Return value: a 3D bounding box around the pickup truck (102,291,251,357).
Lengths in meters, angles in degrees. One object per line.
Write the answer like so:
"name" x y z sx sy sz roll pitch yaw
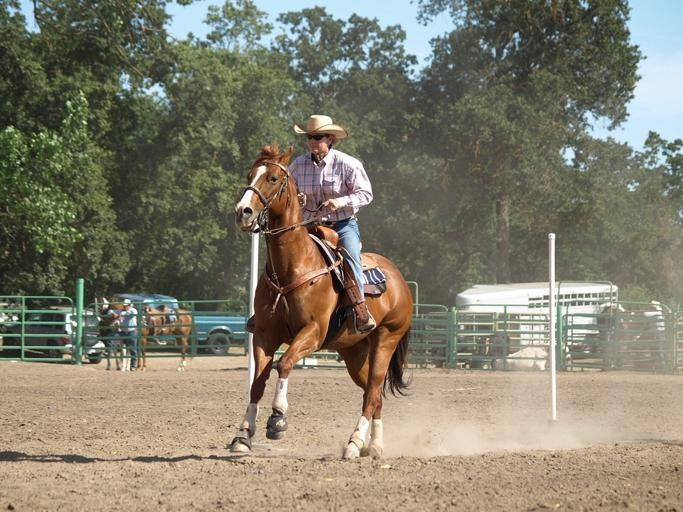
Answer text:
"pickup truck" -6.486 2.719 44.144 5.068 1.897 2.270 10 -9 -38

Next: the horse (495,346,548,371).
"horse" 6.472 3.673 39.635 1.908 0.877 1.243 3 -6 -9

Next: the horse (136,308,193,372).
"horse" -6.371 2.938 39.902 2.668 2.084 0.697 8 -23 6

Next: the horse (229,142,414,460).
"horse" -0.417 1.639 28.124 2.131 7.434 7.683 -1 -13 35
